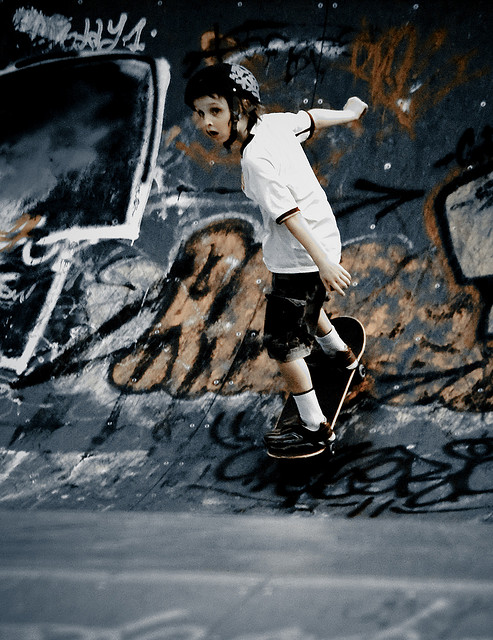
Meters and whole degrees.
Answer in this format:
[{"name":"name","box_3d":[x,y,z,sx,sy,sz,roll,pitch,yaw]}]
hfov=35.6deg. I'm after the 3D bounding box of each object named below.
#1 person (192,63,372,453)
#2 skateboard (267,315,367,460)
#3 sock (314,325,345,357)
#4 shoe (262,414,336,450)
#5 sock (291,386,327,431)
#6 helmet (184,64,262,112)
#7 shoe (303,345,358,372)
[{"name":"person","box_3d":[0.328,-0.346,5.121,0.928,2.607,1.241,1,14,21]},{"name":"skateboard","box_3d":[0.577,0.440,5.368,0.427,1.381,0.251,24,-6,22]},{"name":"sock","box_3d":[0.583,0.157,5.368,0.205,0.232,0.128,-3,13,6]},{"name":"shoe","box_3d":[0.351,0.776,5.106,0.558,0.231,0.244,4,31,10]},{"name":"sock","box_3d":[0.415,0.585,5.060,0.206,0.291,0.104,-3,13,5]},{"name":"helmet","box_3d":[-0.139,-1.466,4.844,0.563,0.311,0.397,2,6,-17]},{"name":"shoe","box_3d":[0.579,0.271,5.535,0.462,0.154,0.197,8,-23,44]}]
